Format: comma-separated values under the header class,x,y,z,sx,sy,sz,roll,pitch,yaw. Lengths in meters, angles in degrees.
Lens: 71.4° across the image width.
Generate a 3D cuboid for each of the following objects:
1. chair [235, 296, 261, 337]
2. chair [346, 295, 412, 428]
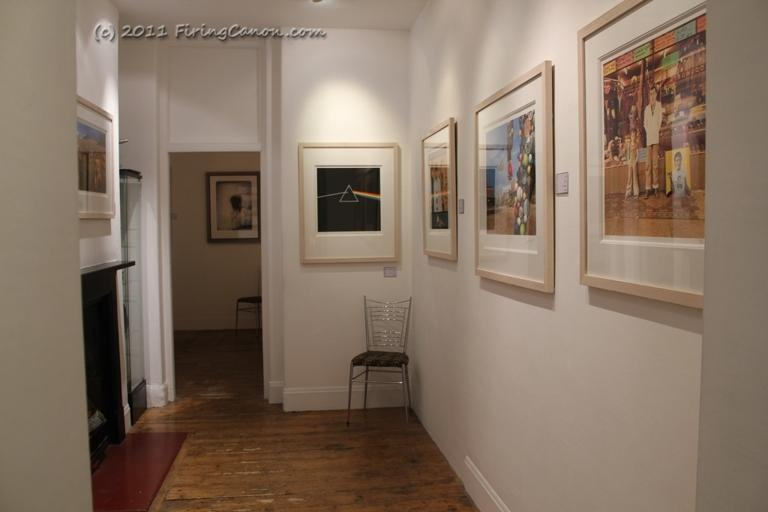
class,x,y,z,sx,sy,sz,roll,pitch,yaw
chair,-1.885,0.794,7.489,0.346,0.550,0.866,-1,5,-15
chair,-0.038,0.819,4.265,0.529,0.931,0.561,1,5,2
